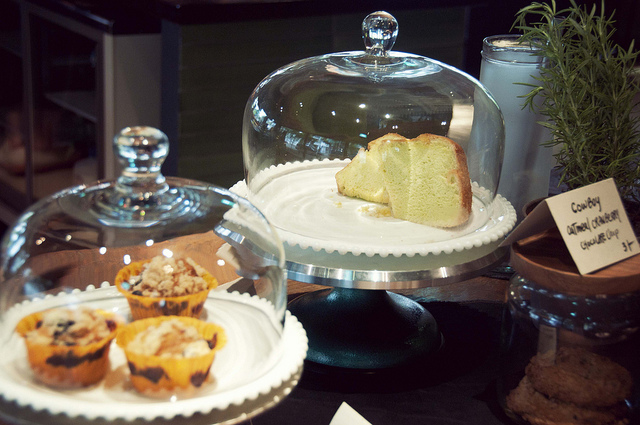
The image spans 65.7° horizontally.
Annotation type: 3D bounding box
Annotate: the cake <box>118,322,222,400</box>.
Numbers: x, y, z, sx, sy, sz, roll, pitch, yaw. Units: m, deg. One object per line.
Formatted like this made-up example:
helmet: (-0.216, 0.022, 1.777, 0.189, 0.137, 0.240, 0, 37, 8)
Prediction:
cake: (-0.162, 0.139, 0.519, 0.085, 0.052, 0.085, 0, -2, -4)

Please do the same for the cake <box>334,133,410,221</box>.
cake: (0.106, -0.069, 0.848, 0.139, 0.118, 0.080, 15, 28, 32)

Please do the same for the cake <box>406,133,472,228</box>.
cake: (0.193, -0.047, 0.813, 0.142, 0.153, 0.055, 3, -13, 16)

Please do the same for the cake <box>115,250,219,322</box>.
cake: (-0.176, 0.092, 0.577, 0.094, 0.065, 0.094, 6, 7, 31)

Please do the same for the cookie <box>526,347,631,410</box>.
cookie: (0.338, 0.218, 0.644, 0.100, 0.068, 0.026, 12, -8, 19)

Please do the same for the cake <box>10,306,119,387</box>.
cake: (-0.274, 0.131, 0.535, 0.089, 0.052, 0.089, 16, 16, 42)
